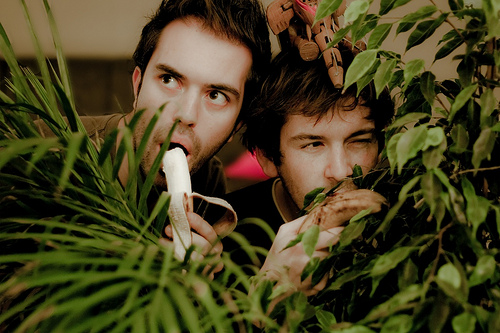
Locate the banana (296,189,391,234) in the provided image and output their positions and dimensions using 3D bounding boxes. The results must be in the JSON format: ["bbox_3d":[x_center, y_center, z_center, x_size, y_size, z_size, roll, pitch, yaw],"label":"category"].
[{"bbox_3d":[0.176,0.082,0.983,0.186,0.057,0.046,-20,12,-3],"label":"banana"}]
